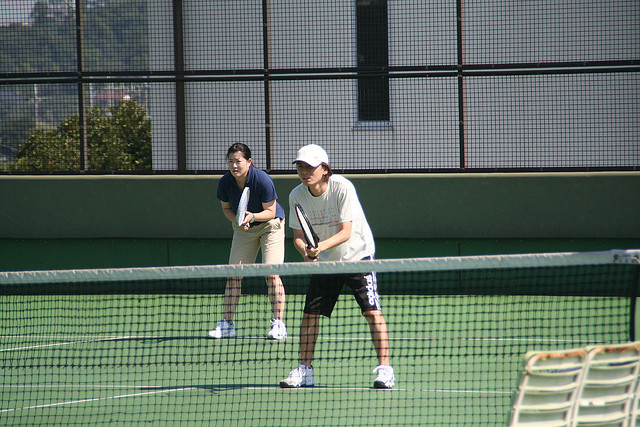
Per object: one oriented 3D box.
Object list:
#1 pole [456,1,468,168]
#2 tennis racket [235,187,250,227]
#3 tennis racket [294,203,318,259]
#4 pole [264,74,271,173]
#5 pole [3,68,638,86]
[{"bbox_3d":[2.196,-2.005,15.597,0.136,2.564,0.333,0,-3,12],"label":"pole"},{"bbox_3d":[-1.029,-0.095,13.415,0.191,0.517,0.371,0,-3,-4],"label":"tennis racket"},{"bbox_3d":[-0.145,0.198,12.017,0.130,0.456,0.700,-25,-26,9],"label":"tennis racket"},{"bbox_3d":[-0.830,-1.425,15.915,0.083,1.517,0.193,0,-3,-2],"label":"pole"},{"bbox_3d":[0.457,-2.145,15.767,11.412,0.179,0.230,-1,9,4],"label":"pole"}]
